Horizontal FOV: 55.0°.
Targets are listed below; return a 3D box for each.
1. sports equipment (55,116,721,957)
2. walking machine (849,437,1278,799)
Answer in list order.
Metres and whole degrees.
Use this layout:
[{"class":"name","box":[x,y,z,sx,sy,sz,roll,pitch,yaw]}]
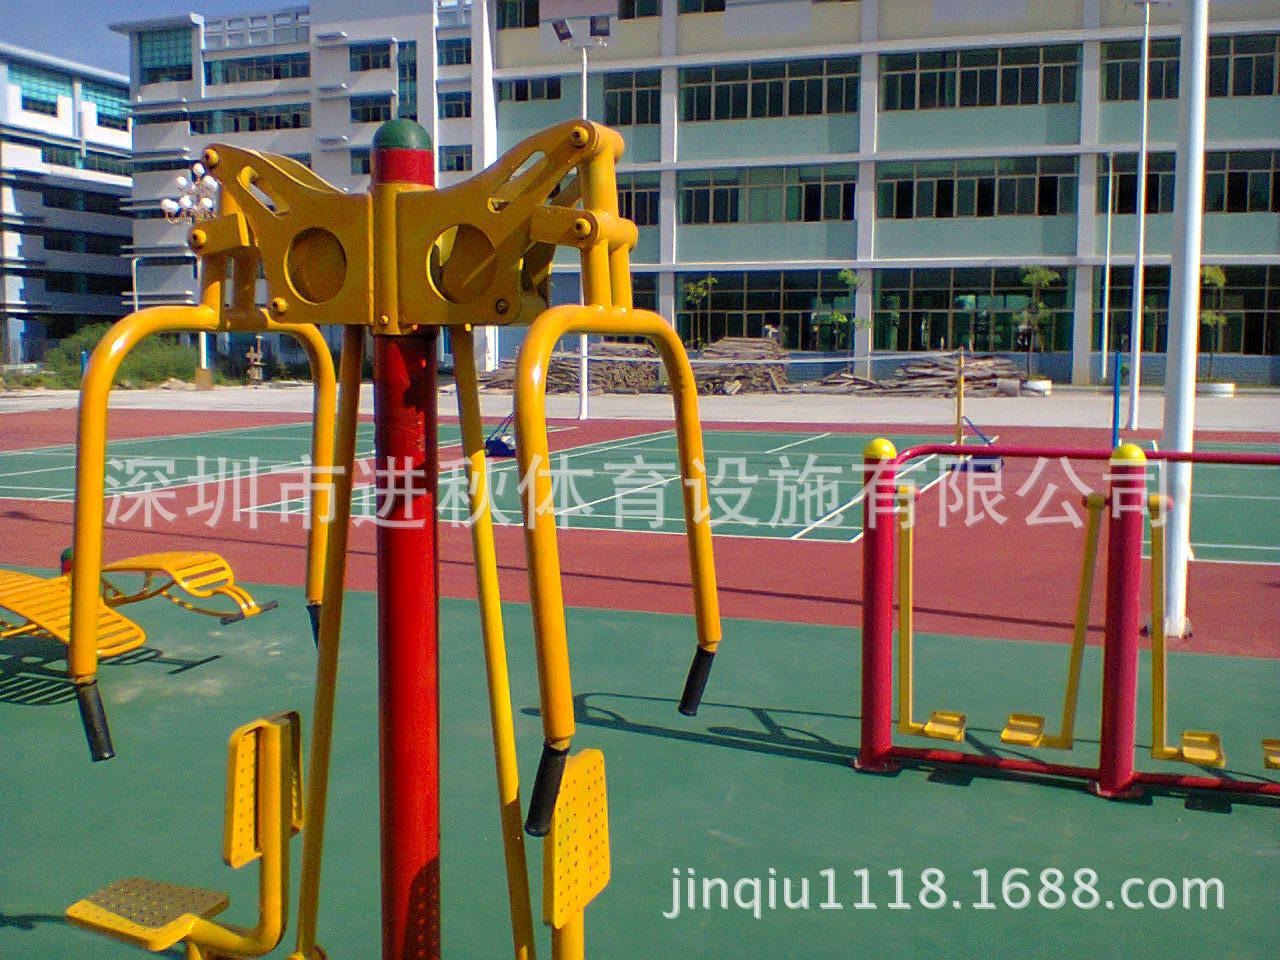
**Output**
[{"class":"sports equipment","box":[-0.854,0.377,4.646,2.216,3.423,0.990,2,8,9]},{"class":"walking machine","box":[2.635,0.648,8.482,2.951,2.040,1.688,1,11,20]}]
